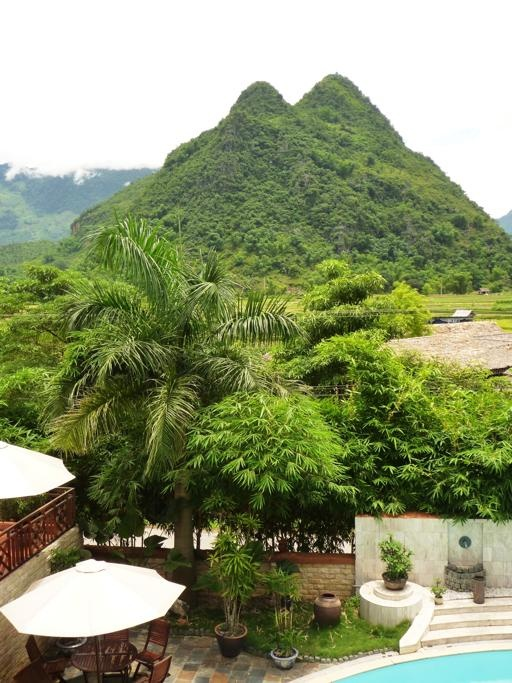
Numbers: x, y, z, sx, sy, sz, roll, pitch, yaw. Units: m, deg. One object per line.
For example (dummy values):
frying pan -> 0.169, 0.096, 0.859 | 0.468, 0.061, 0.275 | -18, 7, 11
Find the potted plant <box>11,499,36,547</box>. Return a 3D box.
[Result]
potted plant -> -3.263, 2.557, 8.465 | 0.422, 0.422, 0.311 | 11, 23, -2

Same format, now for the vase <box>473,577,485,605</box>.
vase -> 3.159, 3.547, 8.556 | 0.163, 0.340, 0.160 | -4, 14, 13

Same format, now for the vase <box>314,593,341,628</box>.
vase -> 1.028, 3.879, 8.694 | 0.406, 0.346, 0.388 | 10, -11, -44

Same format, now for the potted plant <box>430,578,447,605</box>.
potted plant -> 2.656, 3.654, 8.680 | 0.177, 0.218, 0.166 | -1, -11, 0

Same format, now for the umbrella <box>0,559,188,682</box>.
umbrella -> -1.587, 2.490, 5.762 | 1.570, 0.940, 1.420 | -1, 0, -6
